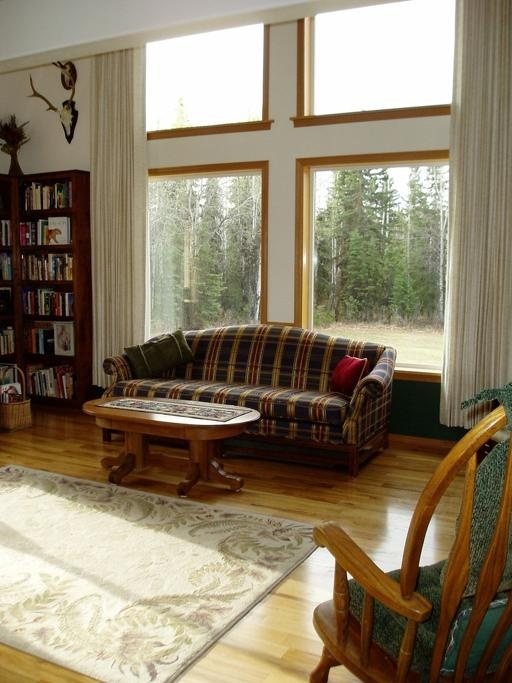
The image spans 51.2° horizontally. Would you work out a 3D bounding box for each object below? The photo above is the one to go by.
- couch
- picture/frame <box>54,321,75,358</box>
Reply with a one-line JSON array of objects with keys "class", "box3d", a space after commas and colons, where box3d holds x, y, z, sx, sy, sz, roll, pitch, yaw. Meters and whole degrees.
[{"class": "couch", "box3d": [-0.123, 0.421, 4.695, 2.465, 1.041, 0.853, 2, 5, 27]}, {"class": "picture/frame", "box3d": [-2.151, -0.029, 6.000, 0.383, 0.486, 0.050, 4, 4, 30]}]
